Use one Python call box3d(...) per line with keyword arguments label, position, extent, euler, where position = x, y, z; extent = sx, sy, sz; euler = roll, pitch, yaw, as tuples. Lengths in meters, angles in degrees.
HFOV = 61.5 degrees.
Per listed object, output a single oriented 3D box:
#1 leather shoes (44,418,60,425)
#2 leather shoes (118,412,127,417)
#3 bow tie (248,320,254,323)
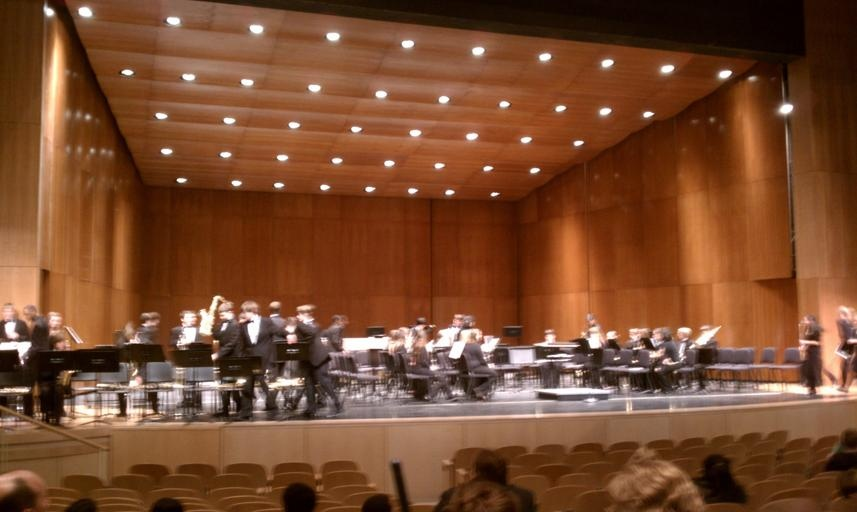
box3d(label="leather shoes", position=(-7.809, 3.439, 14.938), extent=(0.180, 0.158, 0.175), euler=(1, -5, -8))
box3d(label="leather shoes", position=(-6.966, 3.608, 16.336), extent=(0.123, 0.065, 0.116), euler=(0, -8, 32))
box3d(label="bow tie", position=(-3.954, 1.441, 15.930), extent=(0.145, 0.054, 0.075), euler=(0, -10, -13))
